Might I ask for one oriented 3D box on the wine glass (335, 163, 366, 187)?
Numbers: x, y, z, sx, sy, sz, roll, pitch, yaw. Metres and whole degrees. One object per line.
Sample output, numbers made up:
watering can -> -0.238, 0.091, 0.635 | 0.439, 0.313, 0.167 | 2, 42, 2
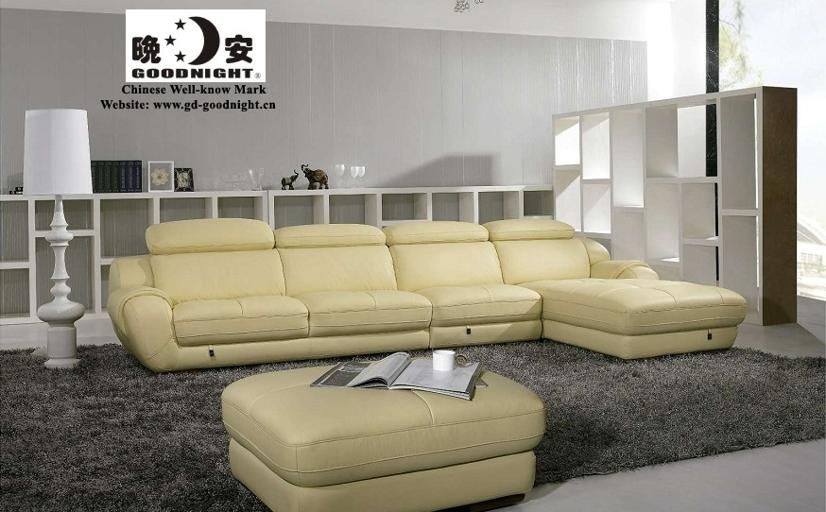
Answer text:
wine glass -> -0.798, -1.008, 7.929 | 0.309, 0.190, 0.108 | -2, 3, -38

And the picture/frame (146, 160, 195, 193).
picture/frame -> -2.757, -0.883, 7.204 | 0.419, 0.288, 0.143 | 0, -3, -28

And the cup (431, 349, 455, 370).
cup -> 0.172, 0.594, 3.669 | 0.114, 0.080, 0.114 | -1, 3, 0
